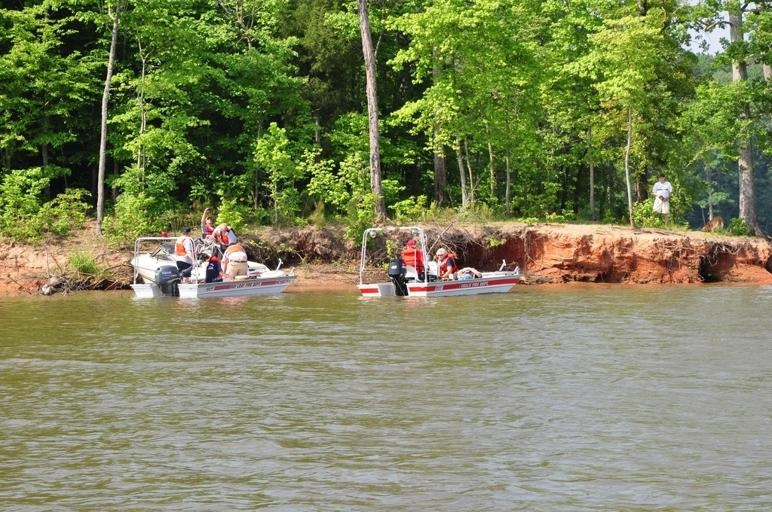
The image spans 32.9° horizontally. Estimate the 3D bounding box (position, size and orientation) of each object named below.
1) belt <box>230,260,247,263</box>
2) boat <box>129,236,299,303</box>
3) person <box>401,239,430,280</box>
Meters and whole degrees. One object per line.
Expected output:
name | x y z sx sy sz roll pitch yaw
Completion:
belt | -6.009 0.143 53.808 0.656 0.095 0.240 -1 0 -40
boat | -6.940 0.386 54.612 6.069 1.916 3.100 -3 5 -33
person | 1.194 0.093 53.886 1.016 1.720 0.942 -2 0 7
